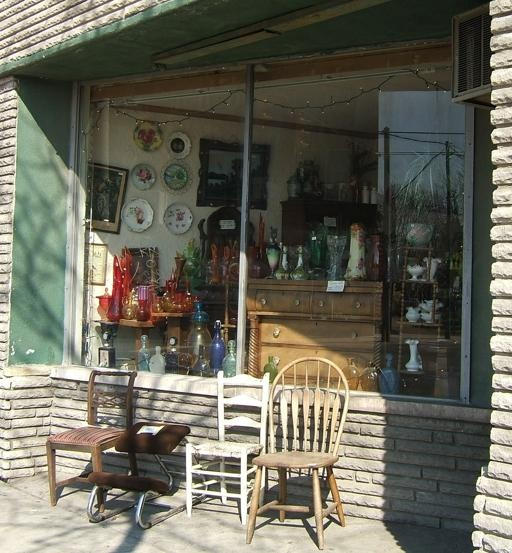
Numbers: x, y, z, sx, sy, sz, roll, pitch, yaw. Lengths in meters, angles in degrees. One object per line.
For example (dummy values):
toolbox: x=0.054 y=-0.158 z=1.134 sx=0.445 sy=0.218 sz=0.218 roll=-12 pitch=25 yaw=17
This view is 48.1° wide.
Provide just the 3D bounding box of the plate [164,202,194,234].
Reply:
plate: x=-0.587 y=-0.440 z=4.339 sx=0.227 sy=0.223 sz=0.039 roll=3 pitch=-1 yaw=31

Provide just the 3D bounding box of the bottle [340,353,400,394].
bottle: x=0.710 y=0.624 z=3.569 sx=0.303 sy=0.285 sz=0.184 roll=-2 pitch=-7 yaw=22

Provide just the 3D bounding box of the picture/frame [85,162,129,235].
picture/frame: x=-1.174 y=-0.617 z=4.577 sx=0.550 sy=0.599 sz=0.028 roll=7 pitch=0 yaw=13

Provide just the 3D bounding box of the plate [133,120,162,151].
plate: x=-0.836 y=-1.097 z=4.466 sx=0.240 sy=0.227 sz=0.054 roll=8 pitch=13 yaw=20

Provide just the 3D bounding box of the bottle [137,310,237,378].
bottle: x=-0.469 y=0.497 z=4.118 sx=0.476 sy=0.417 sz=0.166 roll=-1 pitch=-6 yaw=23

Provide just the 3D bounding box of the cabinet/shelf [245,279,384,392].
cabinet/shelf: x=0.416 y=0.400 z=3.733 sx=0.743 sy=0.660 sz=0.305 roll=0 pitch=-1 yaw=21

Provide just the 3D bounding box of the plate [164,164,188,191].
plate: x=-0.603 y=-0.753 z=4.366 sx=0.200 sy=0.198 sz=0.041 roll=44 pitch=17 yaw=20

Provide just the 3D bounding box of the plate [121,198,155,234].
plate: x=-0.939 y=-0.477 z=4.477 sx=0.268 sy=0.255 sz=0.037 roll=2 pitch=11 yaw=25

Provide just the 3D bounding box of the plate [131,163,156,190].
plate: x=-0.882 y=-0.783 z=4.496 sx=0.215 sy=0.218 sz=0.011 roll=-2 pitch=-1 yaw=22

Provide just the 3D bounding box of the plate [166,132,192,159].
plate: x=-0.573 y=-0.986 z=4.332 sx=0.214 sy=0.201 sz=0.036 roll=-2 pitch=-1 yaw=39

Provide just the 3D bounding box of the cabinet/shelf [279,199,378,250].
cabinet/shelf: x=0.505 y=-0.345 z=3.803 sx=0.374 sy=0.325 sz=0.142 roll=1 pitch=-1 yaw=7

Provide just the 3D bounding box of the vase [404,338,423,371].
vase: x=0.944 y=0.473 z=3.423 sx=0.048 sy=0.191 sz=0.131 roll=0 pitch=-1 yaw=-39

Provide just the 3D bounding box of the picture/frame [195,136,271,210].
picture/frame: x=-0.140 y=-0.733 z=4.054 sx=0.551 sy=0.471 sz=0.058 roll=7 pitch=8 yaw=30
